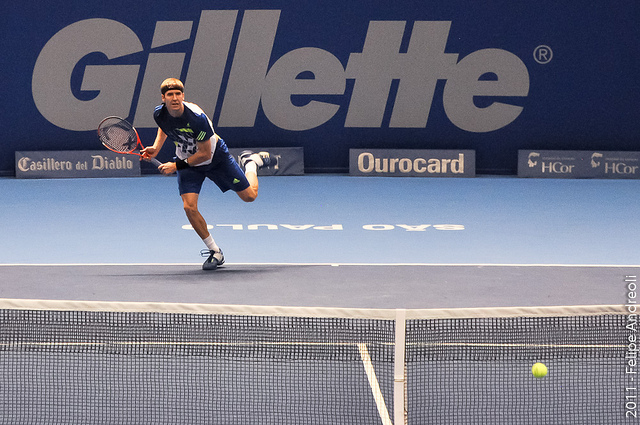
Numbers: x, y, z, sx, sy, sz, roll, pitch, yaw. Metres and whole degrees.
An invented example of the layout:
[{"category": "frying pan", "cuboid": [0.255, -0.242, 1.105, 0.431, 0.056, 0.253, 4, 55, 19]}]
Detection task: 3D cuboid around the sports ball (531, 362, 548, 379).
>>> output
[{"category": "sports ball", "cuboid": [1.847, 1.320, 6.337, 0.118, 0.134, 0.119, 12, 14, -3]}]
